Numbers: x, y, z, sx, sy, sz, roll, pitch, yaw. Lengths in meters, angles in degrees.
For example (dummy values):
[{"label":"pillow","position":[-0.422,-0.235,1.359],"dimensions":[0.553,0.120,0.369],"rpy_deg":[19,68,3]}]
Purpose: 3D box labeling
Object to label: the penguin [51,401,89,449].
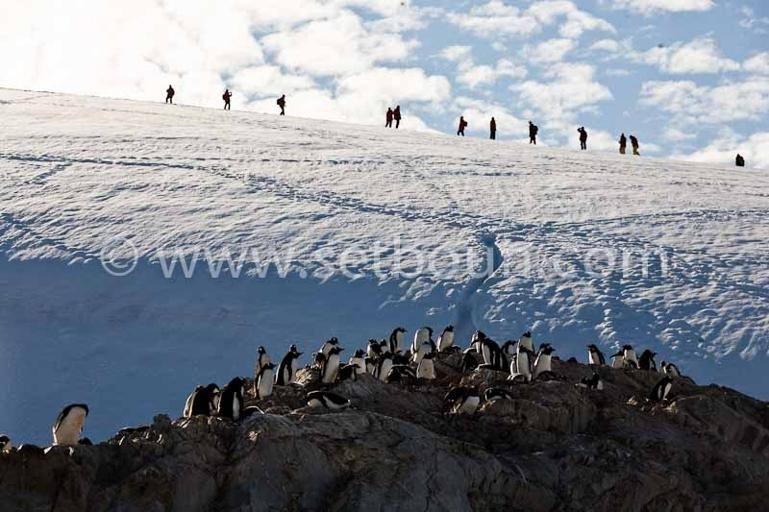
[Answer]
[{"label":"penguin","position":[-5.836,3.138,14.530],"dimensions":[0.534,0.723,0.336],"rpy_deg":[3,9,-19]}]
